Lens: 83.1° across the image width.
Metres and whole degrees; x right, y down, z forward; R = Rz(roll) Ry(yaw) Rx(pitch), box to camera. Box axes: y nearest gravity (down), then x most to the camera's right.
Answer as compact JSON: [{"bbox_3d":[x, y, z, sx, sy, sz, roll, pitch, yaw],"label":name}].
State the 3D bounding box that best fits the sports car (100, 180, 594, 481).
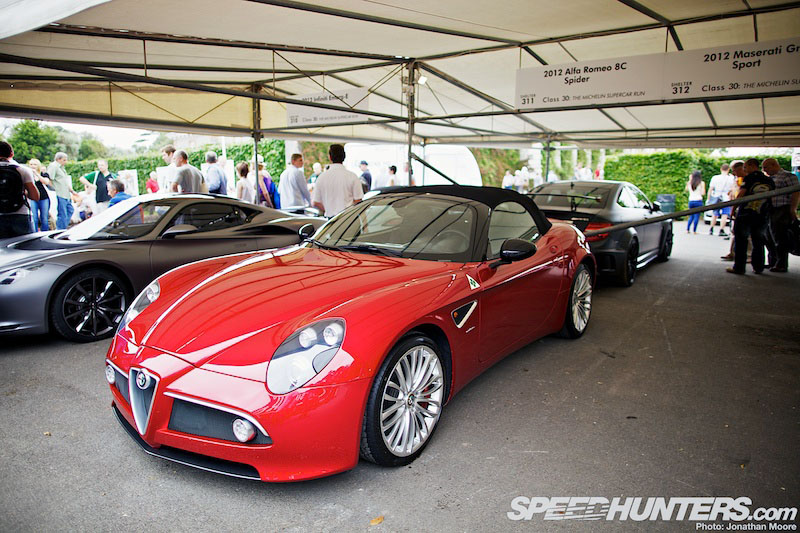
[{"bbox_3d":[0.132,0.256,4.111,2.025,1.234,4.267,8,12,42],"label":"sports car"}]
